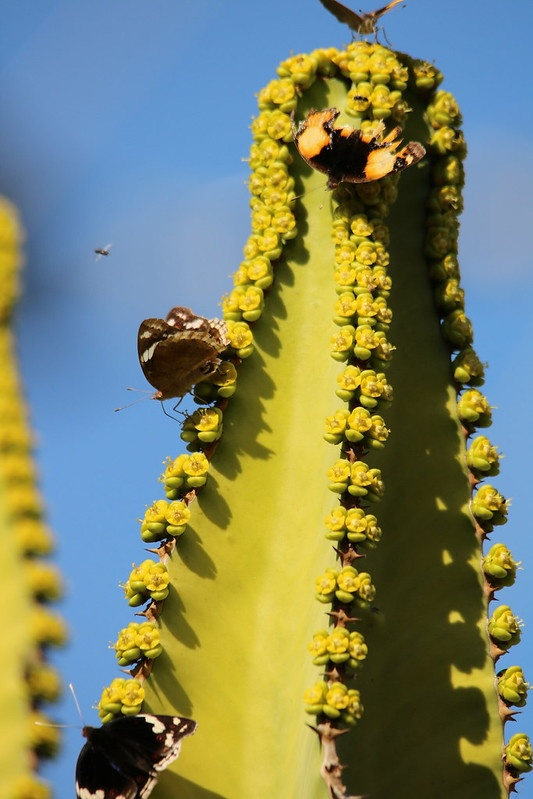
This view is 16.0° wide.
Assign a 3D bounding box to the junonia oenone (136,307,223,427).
[{"bbox_3d":[-0.420,-0.185,9.215,0.430,0.334,0.465,-37,-23,-6],"label":"junonia oenone"}]
